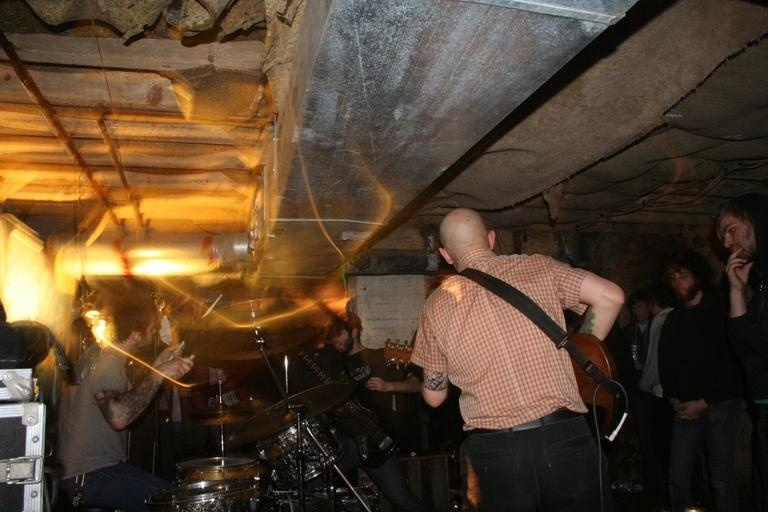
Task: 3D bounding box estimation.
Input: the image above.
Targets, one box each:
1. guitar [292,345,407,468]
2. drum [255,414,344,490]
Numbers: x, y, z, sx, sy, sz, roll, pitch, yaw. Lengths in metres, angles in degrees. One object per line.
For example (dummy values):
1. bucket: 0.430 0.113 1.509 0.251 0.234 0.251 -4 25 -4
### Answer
1. guitar: -0.555 1.555 6.349 0.213 1.470 0.754 -45 -13 22
2. drum: -0.879 1.950 6.164 0.780 0.533 0.877 -26 -5 35
